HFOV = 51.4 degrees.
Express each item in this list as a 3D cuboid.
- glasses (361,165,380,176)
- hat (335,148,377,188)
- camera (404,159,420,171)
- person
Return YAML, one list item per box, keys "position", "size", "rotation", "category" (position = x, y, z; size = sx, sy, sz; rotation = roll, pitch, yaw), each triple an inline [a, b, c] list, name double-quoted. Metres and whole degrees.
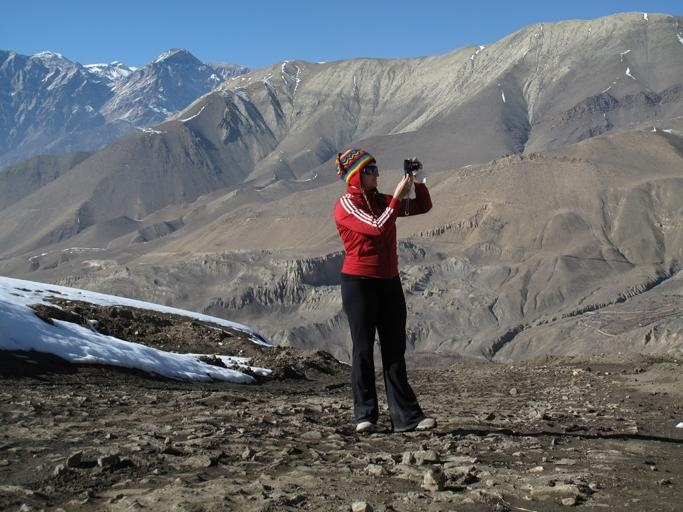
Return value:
- position: [0.300, -0.960, 7.810]
  size: [0.164, 0.054, 0.161]
  rotation: [3, -3, -33]
  category: "glasses"
- position: [0.146, -1.029, 7.921]
  size: [0.472, 0.334, 0.322]
  rotation: [-16, 6, 14]
  category: "hat"
- position: [0.772, -0.997, 7.859]
  size: [0.168, 0.110, 0.210]
  rotation: [0, 3, 24]
  category: "camera"
- position: [0.374, 0.384, 7.814]
  size: [0.841, 3.080, 0.713]
  rotation: [5, -3, -44]
  category: "person"
